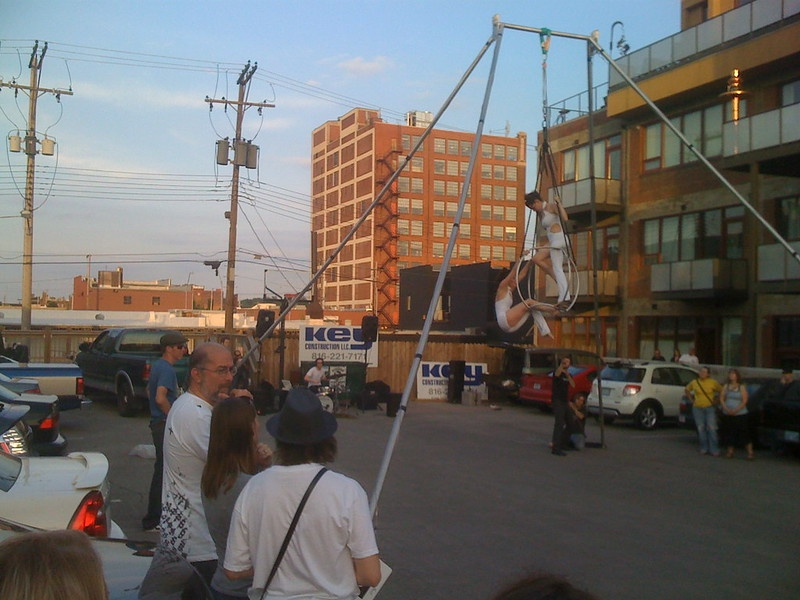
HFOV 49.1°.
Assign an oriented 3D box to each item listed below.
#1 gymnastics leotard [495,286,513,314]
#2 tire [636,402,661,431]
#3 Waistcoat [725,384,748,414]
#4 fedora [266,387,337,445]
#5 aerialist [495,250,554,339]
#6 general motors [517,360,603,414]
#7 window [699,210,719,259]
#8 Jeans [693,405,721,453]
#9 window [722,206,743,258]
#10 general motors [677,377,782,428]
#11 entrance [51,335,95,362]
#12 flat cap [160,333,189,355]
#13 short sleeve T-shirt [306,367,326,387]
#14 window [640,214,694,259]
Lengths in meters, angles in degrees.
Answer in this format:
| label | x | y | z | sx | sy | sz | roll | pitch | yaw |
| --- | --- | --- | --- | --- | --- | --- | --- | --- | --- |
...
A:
| label | x | y | z | sx | sy | sz | roll | pitch | yaw |
| --- | --- | --- | --- | --- | --- | --- | --- | --- | --- |
| gymnastics leotard | 1.583 | 0.012 | 13.283 | 0.280 | 0.592 | 0.385 | 1 | -1 | 2 |
| tire | 6.562 | 3.076 | 23.147 | 0.637 | 0.707 | 0.215 | -9 | 5 | -25 |
| Waistcoat | 7.304 | 2.174 | 18.978 | 0.373 | 0.627 | 0.490 | 14 | -15 | -39 |
| fedora | -0.911 | 1.141 | 8.193 | 0.460 | 0.232 | 0.551 | 1 | 14 | -3 |
| aerialist | 1.935 | -0.100 | 13.806 | 0.828 | 1.218 | 1.759 | 2 | 2 | 7 |
| general motors | 5.014 | 2.557 | 26.163 | 2.165 | 1.020 | 1.193 | -7 | 5 | -39 |
| window | 10.227 | -2.184 | 28.608 | 0.103 | 1.510 | 0.760 | 0 | 2 | -29 |
| Jeans | 6.820 | 2.888 | 19.411 | 0.512 | 1.053 | 0.588 | 2 | 2 | 13 |
| window | 10.720 | -2.167 | 27.887 | 0.293 | 1.597 | 0.784 | 1 | 2 | -20 |
| general motors | 7.548 | 2.365 | 19.836 | 1.817 | 0.787 | 0.936 | -7 | -7 | 12 |
| entrance | -11.147 | 1.686 | 29.605 | 0.886 | 0.953 | 0.476 | 2 | -4 | -43 |
| flat cap | -3.300 | 0.650 | 12.806 | 0.326 | 0.305 | 0.261 | -1 | 0 | -19 |
| short sleeve T-shirt | -2.383 | 2.181 | 24.681 | 0.620 | 0.659 | 0.447 | 6 | -9 | -28 |
| window | 9.304 | -2.204 | 30.206 | 0.104 | 1.183 | 1.526 | 4 | -6 | -24 |
